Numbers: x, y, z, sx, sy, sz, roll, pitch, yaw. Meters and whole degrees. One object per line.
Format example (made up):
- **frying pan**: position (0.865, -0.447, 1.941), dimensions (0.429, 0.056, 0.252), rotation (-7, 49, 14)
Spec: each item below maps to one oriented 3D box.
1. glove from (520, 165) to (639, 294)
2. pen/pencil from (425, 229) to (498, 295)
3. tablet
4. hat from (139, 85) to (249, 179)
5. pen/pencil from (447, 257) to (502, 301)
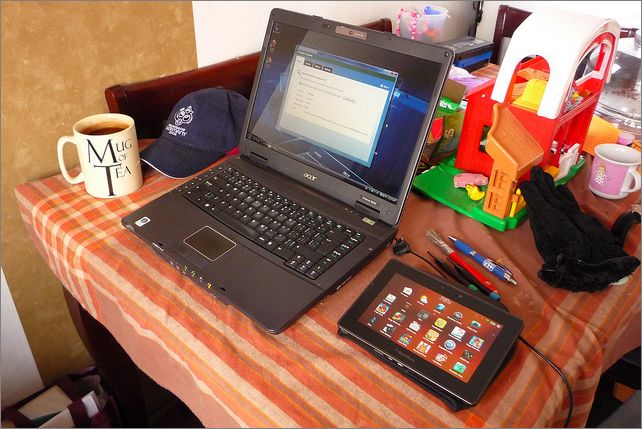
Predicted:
- **glove**: position (0.514, 0.031, 0.979), dimensions (0.166, 0.102, 0.249), rotation (-4, 46, -12)
- **pen/pencil**: position (0.291, 0.102, 0.943), dimensions (0.023, 0.023, 0.162), rotation (-27, 51, -21)
- **tablet**: position (0.199, 0.209, 0.834), dimensions (0.282, 0.111, 0.189), rotation (24, 39, 27)
- **hat**: position (-0.310, -0.191, 1.190), dimensions (0.180, 0.106, 0.279), rotation (28, 52, 20)
- **pen/pencil**: position (0.306, 0.132, 0.907), dimensions (0.016, 0.014, 0.099), rotation (-11, 50, -44)
